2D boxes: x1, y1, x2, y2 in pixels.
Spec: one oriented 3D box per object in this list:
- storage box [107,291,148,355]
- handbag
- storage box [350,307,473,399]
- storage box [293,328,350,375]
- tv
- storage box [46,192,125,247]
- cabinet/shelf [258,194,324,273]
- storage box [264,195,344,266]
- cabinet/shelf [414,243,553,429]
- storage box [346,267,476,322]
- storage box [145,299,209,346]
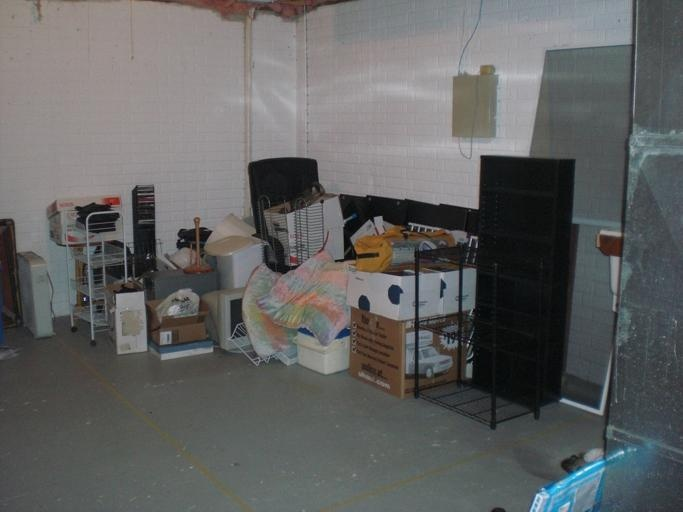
[{"bbox_3d":[-2.045,0.599,5.228,0.468,0.605,0.469,-2,-3,-24],"label":"storage box"},{"bbox_3d":[0.482,-0.081,4.418,0.645,0.268,0.377,-6,3,-27],"label":"handbag"},{"bbox_3d":[0.600,0.722,4.528,0.746,0.699,0.742,-5,7,-40],"label":"storage box"},{"bbox_3d":[-0.158,0.798,4.920,0.396,0.348,0.391,-8,13,-42],"label":"storage box"},{"bbox_3d":[-1.037,0.601,5.252,0.456,0.629,0.367,-13,21,-43],"label":"tv"},{"bbox_3d":[-2.577,-0.318,5.747,0.821,0.517,0.598,6,12,41],"label":"storage box"},{"bbox_3d":[-0.444,-0.249,5.682,0.651,0.807,0.789,-11,14,-19],"label":"cabinet/shelf"},{"bbox_3d":[-0.307,-0.266,5.851,0.485,0.778,0.836,9,5,27],"label":"storage box"},{"bbox_3d":[1.053,0.578,4.198,0.790,1.535,1.167,-2,6,-36],"label":"cabinet/shelf"},{"bbox_3d":[0.425,0.276,4.364,0.564,0.256,0.551,-5,9,-42],"label":"storage box"},{"bbox_3d":[-1.486,0.610,5.255,0.461,0.323,0.348,-5,9,-38],"label":"storage box"}]
